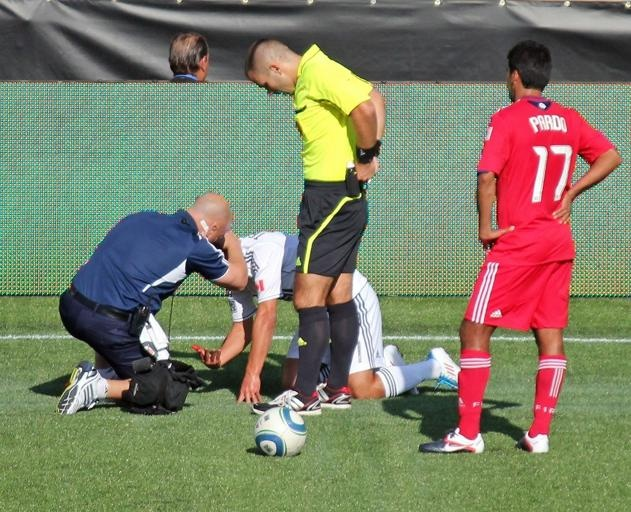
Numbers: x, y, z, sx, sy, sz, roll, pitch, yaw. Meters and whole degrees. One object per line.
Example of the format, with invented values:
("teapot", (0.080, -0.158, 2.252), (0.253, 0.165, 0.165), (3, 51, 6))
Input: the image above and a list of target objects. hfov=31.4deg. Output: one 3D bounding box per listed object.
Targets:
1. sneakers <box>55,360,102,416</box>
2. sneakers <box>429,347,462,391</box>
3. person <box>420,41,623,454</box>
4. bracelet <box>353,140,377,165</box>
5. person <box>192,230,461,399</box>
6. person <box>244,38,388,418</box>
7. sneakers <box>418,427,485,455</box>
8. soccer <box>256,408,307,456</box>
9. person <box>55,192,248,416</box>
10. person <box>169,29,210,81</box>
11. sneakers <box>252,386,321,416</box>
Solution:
("sneakers", (-1.512, 0.871, 7.310), (0.427, 0.156, 0.192), (-48, 31, -23))
("sneakers", (0.975, 0.839, 8.143), (0.129, 0.170, 0.389), (-20, -47, 37))
("person", (1.253, 0.111, 6.790), (1.023, 2.098, 0.695), (3, 12, -5))
("bracelet", (0.330, -0.661, 7.326), (0.142, 0.089, 0.111), (-4, 6, -5))
("person", (0.083, 0.473, 8.029), (1.988, 1.241, 0.886), (1, -1, -11))
("person", (0.137, -0.188, 7.612), (1.159, 2.520, 1.070), (1, 1, -38))
("sneakers", (0.841, 1.117, 6.762), (0.430, 0.172, 0.145), (2, -7, -1))
("soccer", (-0.215, 1.086, 6.721), (0.289, 0.301, 0.298), (0, 11, 21))
("person", (-1.151, 0.373, 7.581), (0.877, 1.506, 1.588), (20, 17, 30))
("person", (-1.227, -1.897, 10.861), (0.364, 0.506, 0.721), (2, 12, -8))
("sneakers", (-0.176, 0.947, 7.255), (0.450, 0.182, 0.176), (3, -7, -6))
